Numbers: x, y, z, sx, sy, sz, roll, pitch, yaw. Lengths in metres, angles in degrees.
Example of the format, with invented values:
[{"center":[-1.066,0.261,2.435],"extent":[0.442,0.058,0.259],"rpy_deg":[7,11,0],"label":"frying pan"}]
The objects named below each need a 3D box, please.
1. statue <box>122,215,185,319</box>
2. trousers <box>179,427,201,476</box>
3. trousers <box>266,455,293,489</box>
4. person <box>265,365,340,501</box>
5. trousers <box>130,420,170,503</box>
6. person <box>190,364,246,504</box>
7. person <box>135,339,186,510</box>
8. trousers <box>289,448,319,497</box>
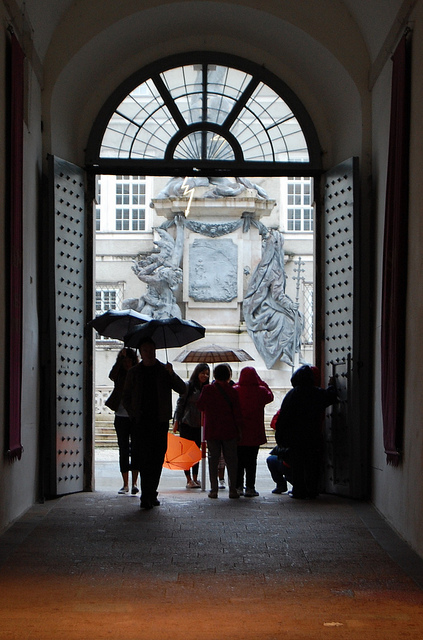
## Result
[{"center":[-1.770,-1.693,20.180],"extent":[1.927,3.289,0.733],"rpy_deg":[-4,-10,29],"label":"statue"},{"center":[-0.280,1.693,8.152],"extent":[0.280,0.638,0.699],"rpy_deg":[1,-8,-1],"label":"trousers"},{"center":[0.743,1.694,7.075],"extent":[0.248,0.409,0.633],"rpy_deg":[0,-8,4],"label":"trousers"},{"center":[1.002,1.198,6.937],"extent":[0.780,1.418,0.959],"rpy_deg":[-1,-8,12],"label":"person"},{"center":[-0.571,1.262,5.721],"extent":[0.327,0.735,0.300],"rpy_deg":[2,-8,-7],"label":"trousers"},{"center":[0.094,1.212,6.904],"extent":[0.544,1.447,1.432],"rpy_deg":[0,-8,3],"label":"person"},{"center":[-0.505,0.917,5.764],"extent":[0.394,1.526,0.475],"rpy_deg":[-2,-9,16],"label":"person"},{"center":[0.962,1.593,6.702],"extent":[0.302,0.498,0.128],"rpy_deg":[0,-8,5],"label":"trousers"}]
